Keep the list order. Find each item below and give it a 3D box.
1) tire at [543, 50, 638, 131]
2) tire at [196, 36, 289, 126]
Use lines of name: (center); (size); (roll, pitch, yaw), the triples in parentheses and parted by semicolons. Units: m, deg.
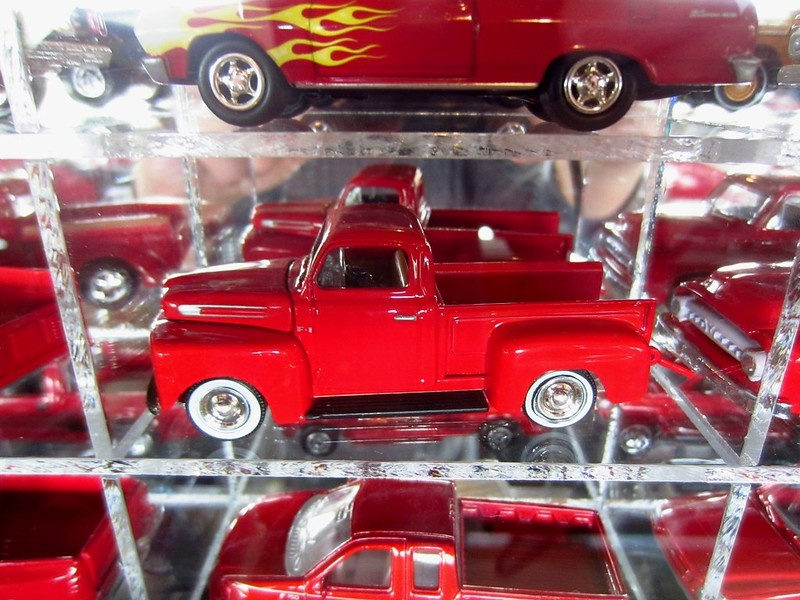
tire: (0.881, -0.983, 2.554); (0.380, 0.138, 0.341); (-4, -84, -4)
tire: (-0.733, -1.049, 2.606); (0.397, 0.136, 0.361); (-12, -85, 6)
